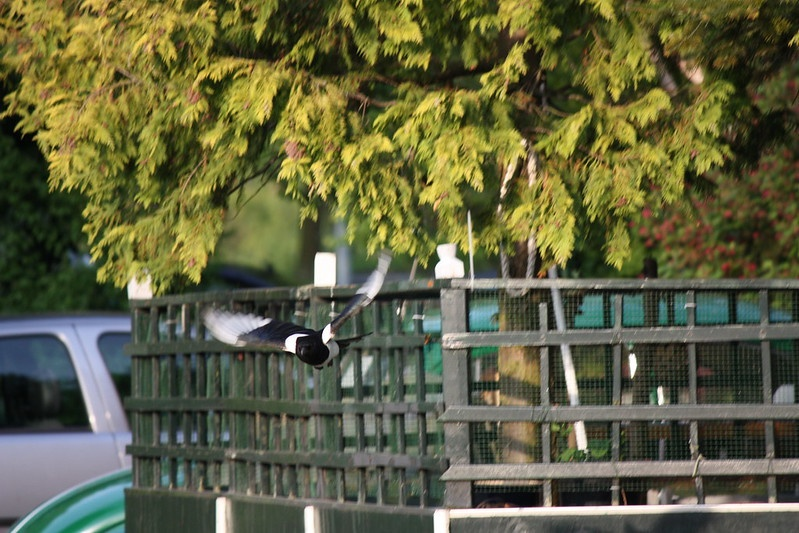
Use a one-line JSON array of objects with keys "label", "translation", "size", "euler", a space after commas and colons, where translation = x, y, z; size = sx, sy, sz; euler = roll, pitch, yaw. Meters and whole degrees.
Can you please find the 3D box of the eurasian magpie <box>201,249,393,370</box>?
[{"label": "eurasian magpie", "translation": [-0.918, 0.440, 27.168], "size": [1.894, 1.023, 0.672], "euler": [-4, 1, 28]}]
